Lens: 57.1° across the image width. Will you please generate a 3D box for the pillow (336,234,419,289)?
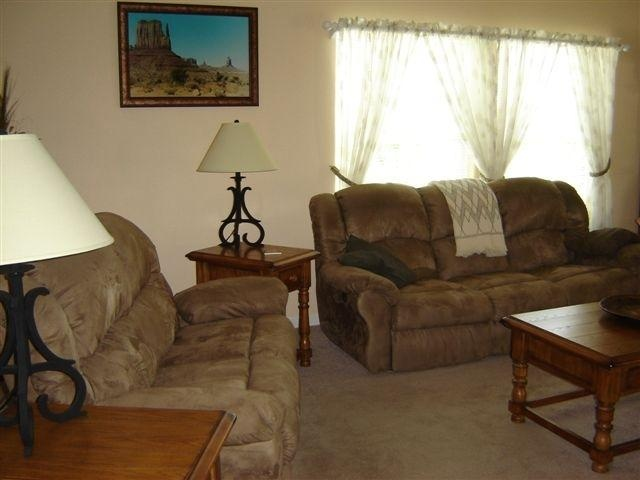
[{"bbox_3d":[0.398,0.160,4.025,0.507,0.321,0.293,2,15,11],"label":"pillow"}]
